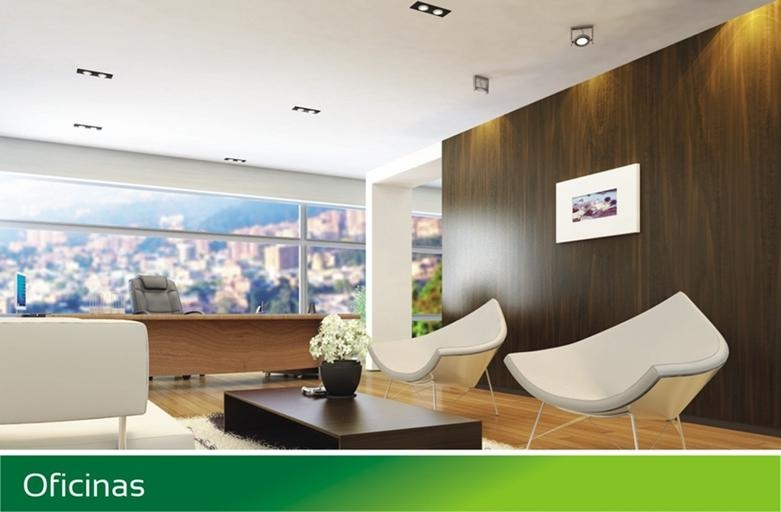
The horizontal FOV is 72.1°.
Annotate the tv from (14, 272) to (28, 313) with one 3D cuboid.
[{"bbox_3d":[-5.172,0.525,7.477,0.109,0.589,1.015,0,2,-36],"label":"tv"}]

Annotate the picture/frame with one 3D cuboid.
[{"bbox_3d":[2.150,-0.541,5.471,0.035,0.649,0.880,5,-6,-37],"label":"picture/frame"}]

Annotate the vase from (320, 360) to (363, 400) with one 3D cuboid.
[{"bbox_3d":[-0.363,0.901,3.967,0.288,0.212,0.290,1,-6,-10],"label":"vase"}]

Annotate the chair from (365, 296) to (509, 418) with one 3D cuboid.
[{"bbox_3d":[0.544,0.941,5.256,1.196,1.099,1.158,6,-9,-31],"label":"chair"}]

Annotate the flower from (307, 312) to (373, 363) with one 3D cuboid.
[{"bbox_3d":[-0.393,0.653,4.181,0.380,0.344,0.407,1,5,-5],"label":"flower"}]

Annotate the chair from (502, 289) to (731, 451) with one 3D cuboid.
[{"bbox_3d":[1.677,0.795,3.779,1.328,1.070,1.323,0,-6,-25],"label":"chair"}]

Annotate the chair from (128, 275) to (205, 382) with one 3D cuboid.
[{"bbox_3d":[-2.996,0.915,7.198,0.856,1.279,0.991,4,0,-44],"label":"chair"}]
